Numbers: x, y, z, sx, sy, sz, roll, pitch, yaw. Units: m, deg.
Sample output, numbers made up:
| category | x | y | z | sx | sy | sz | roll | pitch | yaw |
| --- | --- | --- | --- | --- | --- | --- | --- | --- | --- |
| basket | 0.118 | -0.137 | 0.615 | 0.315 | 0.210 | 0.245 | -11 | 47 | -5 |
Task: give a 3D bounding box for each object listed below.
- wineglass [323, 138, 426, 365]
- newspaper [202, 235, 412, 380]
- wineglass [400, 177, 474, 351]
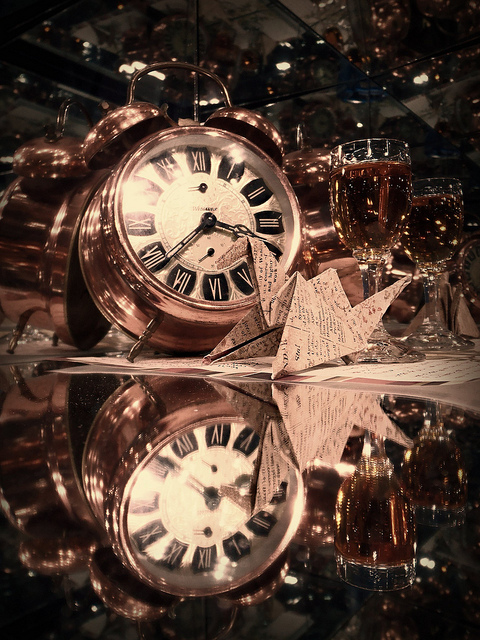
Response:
| category | x | y | z | sx | sy | sz | roll | pitch | yaw |
| --- | --- | --- | --- | --- | --- | --- | --- | --- | --- |
| wineglass | 0.172 | -0.102 | 0.815 | 0.134 | 0.114 | 0.318 | 3 | 92 | 5 |
| newspaper | 0.073 | -0.009 | 0.731 | 0.218 | 0.277 | 0.152 | 3 | 90 | -15 |
| wineglass | 0.325 | -0.100 | 1.005 | 0.109 | 0.113 | 0.318 | 5 | 88 | -44 |
